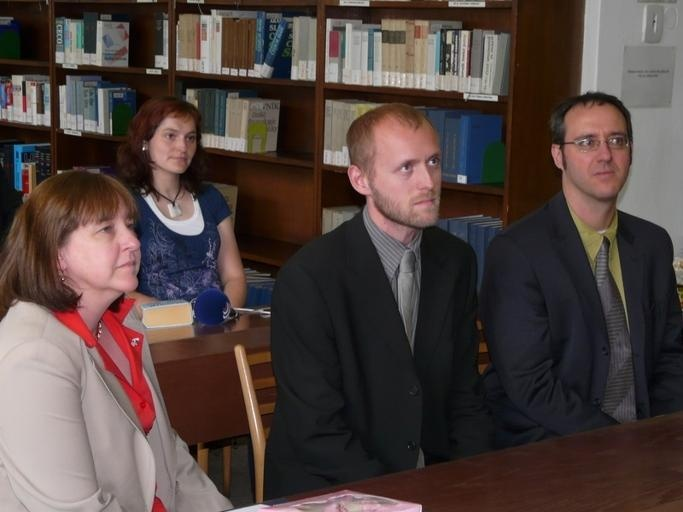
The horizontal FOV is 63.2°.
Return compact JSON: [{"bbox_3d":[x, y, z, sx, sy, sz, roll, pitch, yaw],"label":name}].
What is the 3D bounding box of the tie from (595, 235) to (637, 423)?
[{"bbox_3d":[0.968,0.262,2.010,0.131,0.639,0.154,0,5,-9],"label":"tie"}]
